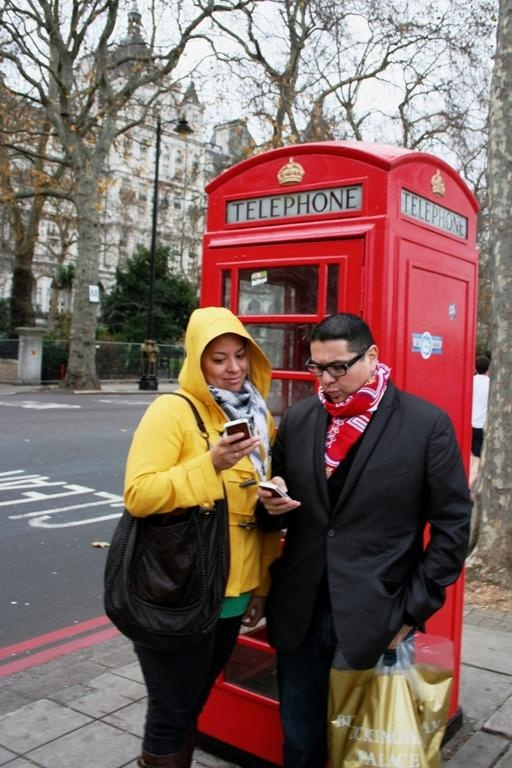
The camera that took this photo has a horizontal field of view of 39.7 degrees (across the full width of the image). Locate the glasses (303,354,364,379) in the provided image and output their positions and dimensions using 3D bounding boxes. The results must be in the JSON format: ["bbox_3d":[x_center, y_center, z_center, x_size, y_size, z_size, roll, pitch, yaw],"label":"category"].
[{"bbox_3d":[0.219,-0.051,2.048,0.096,0.030,0.102,-6,19,48],"label":"glasses"}]

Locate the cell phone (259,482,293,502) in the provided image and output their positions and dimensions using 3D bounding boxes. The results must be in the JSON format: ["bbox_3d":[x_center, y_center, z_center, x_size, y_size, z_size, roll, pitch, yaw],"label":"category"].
[{"bbox_3d":[0.048,0.298,1.986,0.070,0.048,0.063,0,-1,32],"label":"cell phone"}]

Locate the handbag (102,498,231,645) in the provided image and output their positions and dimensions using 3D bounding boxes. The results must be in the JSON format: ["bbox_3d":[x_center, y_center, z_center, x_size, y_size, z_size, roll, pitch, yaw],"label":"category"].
[{"bbox_3d":[-0.239,0.528,1.982,0.307,0.413,0.157,-1,-20,19],"label":"handbag"}]

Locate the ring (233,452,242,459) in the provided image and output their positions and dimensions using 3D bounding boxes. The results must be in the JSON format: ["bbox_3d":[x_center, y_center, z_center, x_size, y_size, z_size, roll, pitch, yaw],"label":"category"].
[{"bbox_3d":[-0.048,0.192,1.932,0.014,0.018,0.007,5,3,2],"label":"ring"}]
